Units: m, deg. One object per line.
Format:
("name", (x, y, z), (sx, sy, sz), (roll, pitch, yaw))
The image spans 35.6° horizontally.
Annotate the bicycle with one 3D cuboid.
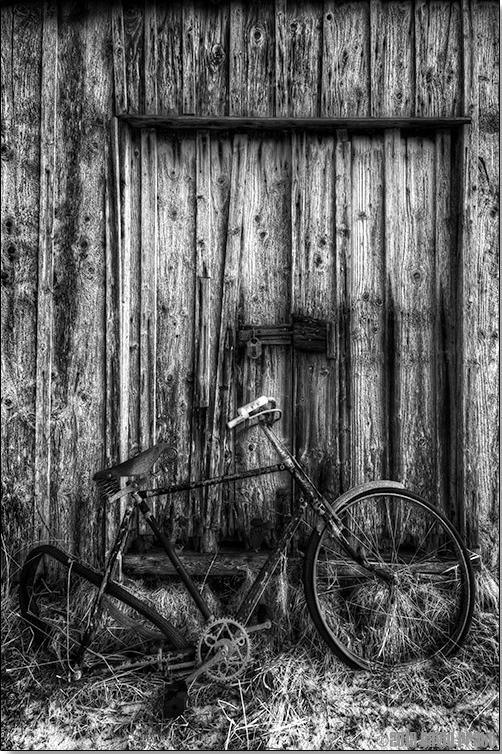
("bicycle", (-0.069, 0.893, 3.823), (1.701, 1.645, 0.535), (-16, 1, -4))
